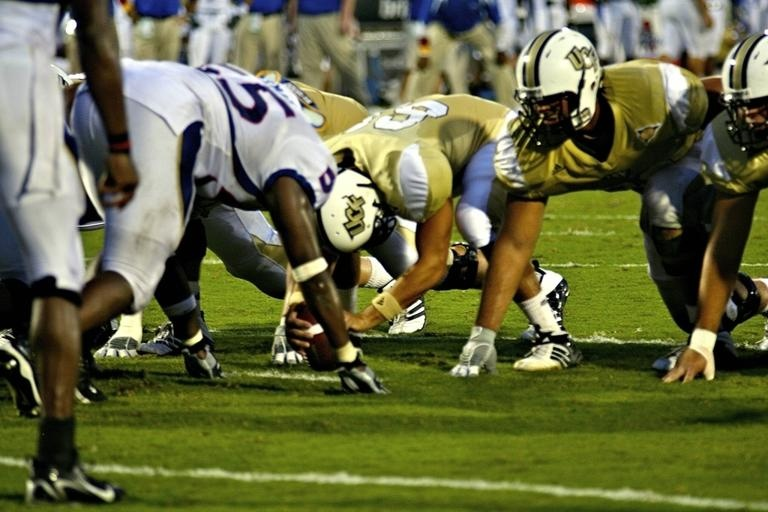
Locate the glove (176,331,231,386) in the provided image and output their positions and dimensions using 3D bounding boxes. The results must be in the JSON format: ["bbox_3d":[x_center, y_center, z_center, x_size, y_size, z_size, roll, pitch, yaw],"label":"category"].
[{"bbox_3d":[-0.712,0.399,4.044,0.105,0.122,0.272,-29,30,-8],"label":"glove"}]

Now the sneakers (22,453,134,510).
[{"bbox_3d":[-0.863,0.629,2.884,0.327,0.122,0.099,4,4,-12],"label":"sneakers"}]

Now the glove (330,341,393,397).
[{"bbox_3d":[-0.043,0.448,3.836,0.107,0.126,0.315,-33,26,-32],"label":"glove"}]

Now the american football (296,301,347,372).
[{"bbox_3d":[-0.243,0.331,3.998,0.112,0.254,0.194,-32,24,6],"label":"american football"}]

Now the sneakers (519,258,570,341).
[{"bbox_3d":[0.766,0.170,4.789,0.210,0.445,0.159,20,-29,-33],"label":"sneakers"}]

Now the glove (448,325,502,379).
[{"bbox_3d":[0.356,0.397,4.167,0.115,0.138,0.325,1,19,35],"label":"glove"}]

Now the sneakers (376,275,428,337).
[{"bbox_3d":[0.113,0.277,5.028,0.127,0.357,0.165,25,-2,45],"label":"sneakers"}]

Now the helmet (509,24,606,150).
[{"bbox_3d":[0.707,-0.737,4.322,0.344,0.428,0.438,8,28,30],"label":"helmet"}]

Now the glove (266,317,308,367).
[{"bbox_3d":[-0.422,0.400,4.411,0.145,0.127,0.109,5,-20,-29],"label":"glove"}]

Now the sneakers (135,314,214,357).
[{"bbox_3d":[-0.911,0.330,4.510,0.391,0.175,0.135,-5,26,24],"label":"sneakers"}]

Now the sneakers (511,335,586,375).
[{"bbox_3d":[0.707,0.399,4.380,0.393,0.161,0.149,-6,2,-43],"label":"sneakers"}]
